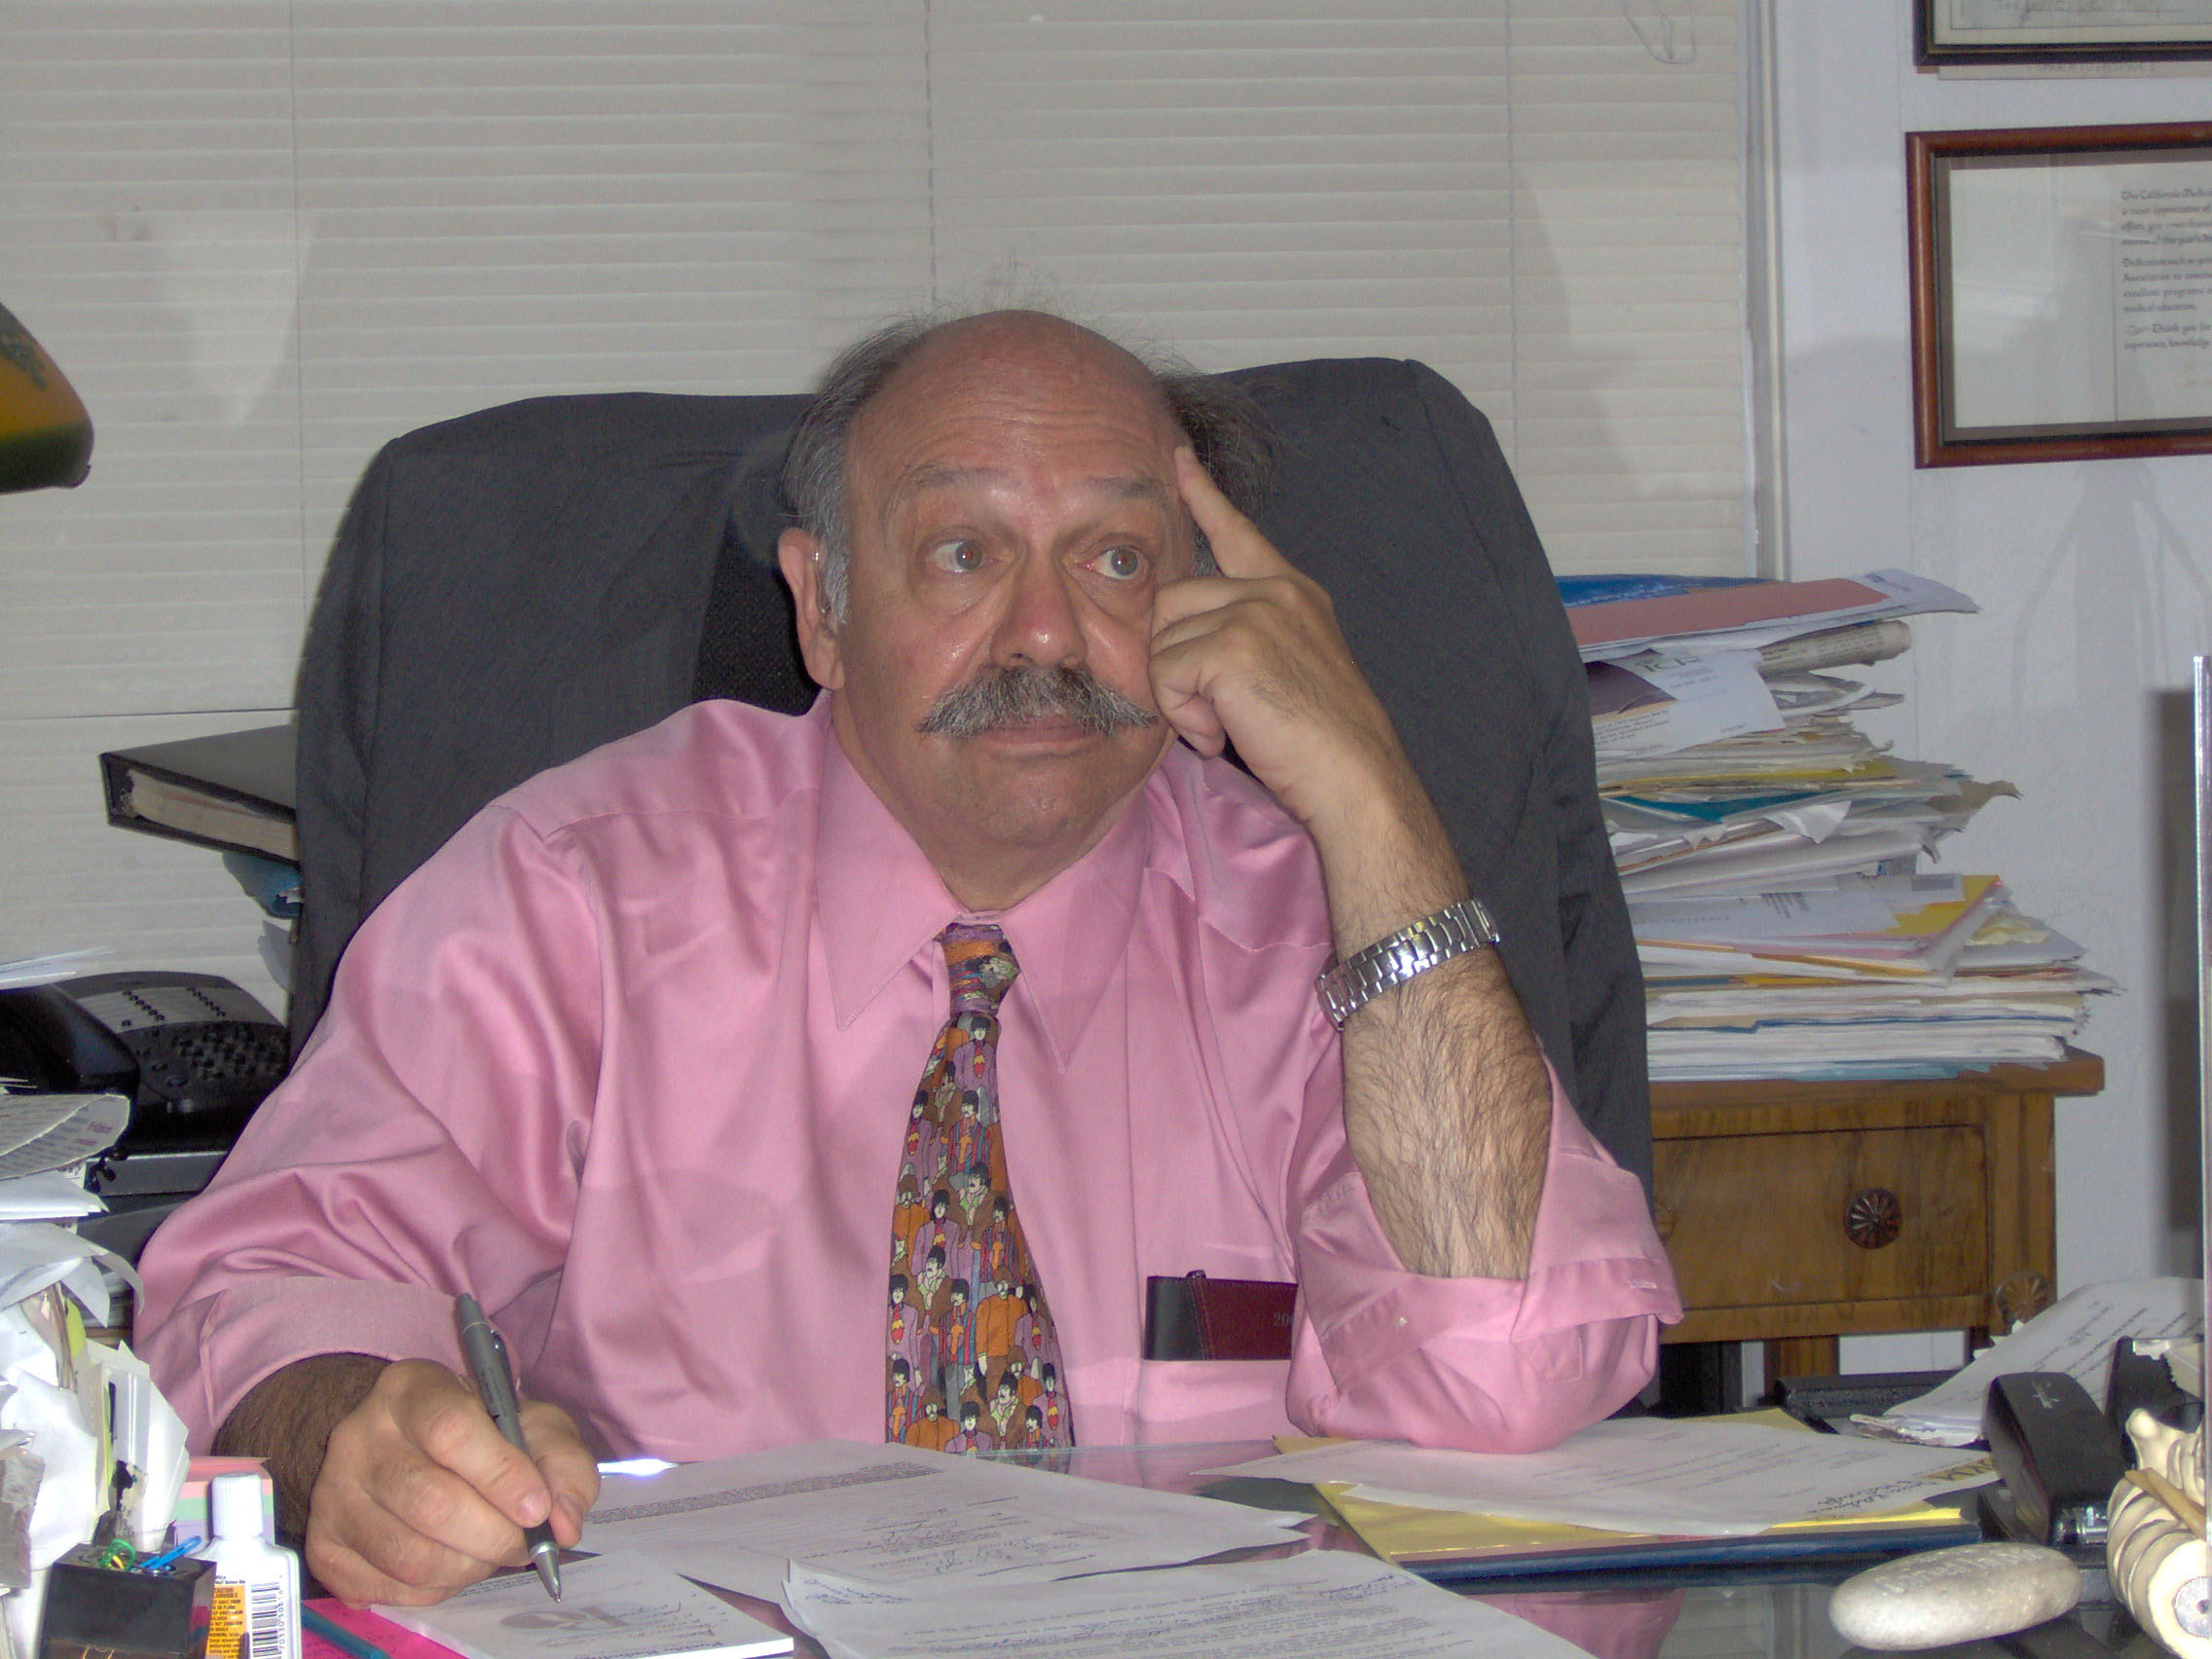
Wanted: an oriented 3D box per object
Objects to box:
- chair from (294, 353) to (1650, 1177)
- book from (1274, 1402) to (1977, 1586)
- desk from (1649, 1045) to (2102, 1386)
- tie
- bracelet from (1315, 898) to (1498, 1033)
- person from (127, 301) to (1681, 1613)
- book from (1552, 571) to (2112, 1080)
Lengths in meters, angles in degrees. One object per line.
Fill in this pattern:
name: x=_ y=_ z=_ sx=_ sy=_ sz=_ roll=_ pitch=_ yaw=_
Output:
chair: x=-0.129 y=0.045 z=2.258 sx=0.823 sy=0.933 sz=0.801 roll=0 pitch=-7 yaw=-12
book: x=0.275 y=0.380 z=1.604 sx=0.574 sy=0.045 sz=0.393 roll=0 pitch=-1 yaw=-14
desk: x=0.669 y=0.309 z=2.344 sx=0.438 sy=0.354 sz=0.309 roll=-1 pitch=-1 yaw=-10
tie: x=-0.084 y=0.246 z=1.682 sx=0.127 sy=0.350 sz=0.041 roll=0 pitch=-6 yaw=28
bracelet: x=0.214 y=0.087 z=1.724 sx=0.124 sy=0.070 sz=0.128 roll=-20 pitch=-8 yaw=12
person: x=-0.224 y=0.059 z=1.773 sx=0.930 sy=0.837 sz=0.785 roll=-2 pitch=14 yaw=-20
book: x=0.599 y=-0.048 z=2.379 sx=0.597 sy=0.440 sz=0.467 roll=2 pitch=11 yaw=-4
